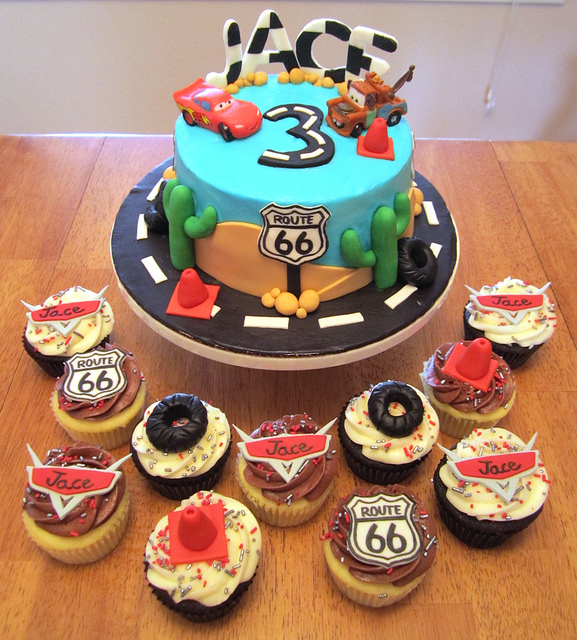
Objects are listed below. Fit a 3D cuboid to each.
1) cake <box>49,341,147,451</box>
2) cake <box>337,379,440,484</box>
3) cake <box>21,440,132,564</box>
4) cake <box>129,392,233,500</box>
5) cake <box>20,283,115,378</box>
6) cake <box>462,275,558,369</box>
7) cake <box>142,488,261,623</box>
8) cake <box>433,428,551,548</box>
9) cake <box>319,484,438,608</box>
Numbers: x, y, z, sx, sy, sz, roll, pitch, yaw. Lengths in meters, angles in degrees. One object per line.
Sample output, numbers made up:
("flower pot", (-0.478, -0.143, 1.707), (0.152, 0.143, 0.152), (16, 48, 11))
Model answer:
("cake", (-1.020, 0.409, 3.441), (0.505, 0.409, 0.546), (3, 47, -1))
("cake", (0.510, 0.577, 3.237), (0.540, 0.427, 0.472), (-4, 44, -10))
("cake", (-0.938, 0.857, 3.092), (0.518, 0.515, 0.589), (1, 60, -4))
("cake", (-0.517, 0.596, 3.022), (0.484, 0.373, 0.508), (1, 51, -6))
("cake", (-1.287, 0.066, 3.700), (0.487, 0.373, 0.540), (-25, 55, -35))
("cake", (1.295, -0.005, 3.873), (0.498, 0.448, 0.543), (1, 58, -3))
("cake", (-0.378, 0.986, 2.759), (0.541, 0.432, 0.590), (-12, 39, -9))
("cake", (0.881, 0.804, 3.173), (0.530, 0.617, 0.591), (-1, 58, 1))
("cake", (0.413, 0.974, 2.802), (0.501, 0.173, 0.454), (-29, 50, -26))
